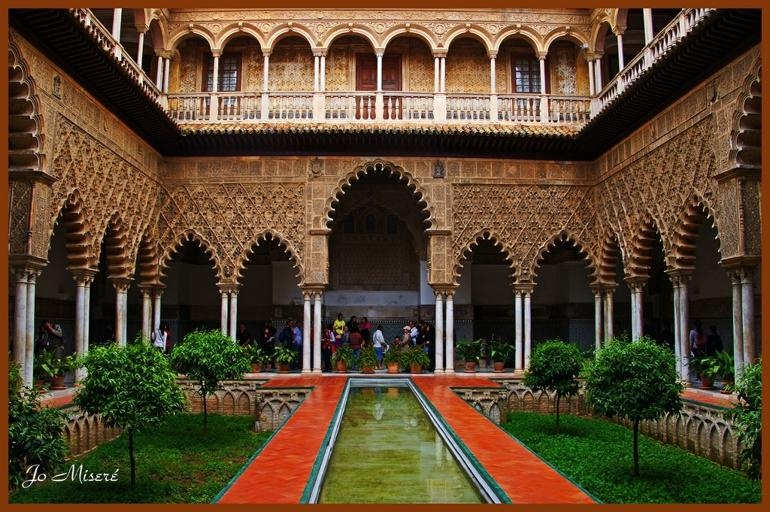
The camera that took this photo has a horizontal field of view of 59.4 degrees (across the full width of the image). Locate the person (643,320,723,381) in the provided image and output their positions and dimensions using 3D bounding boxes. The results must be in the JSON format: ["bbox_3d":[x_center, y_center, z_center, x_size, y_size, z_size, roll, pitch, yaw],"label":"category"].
[{"bbox_3d":[5.676,1.778,12.664,1.195,0.821,1.232,1,-16,-5],"label":"person"}]

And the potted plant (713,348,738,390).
[{"bbox_3d":[6.157,2.084,12.259,0.297,0.677,1.915,2,2,26],"label":"potted plant"}]
